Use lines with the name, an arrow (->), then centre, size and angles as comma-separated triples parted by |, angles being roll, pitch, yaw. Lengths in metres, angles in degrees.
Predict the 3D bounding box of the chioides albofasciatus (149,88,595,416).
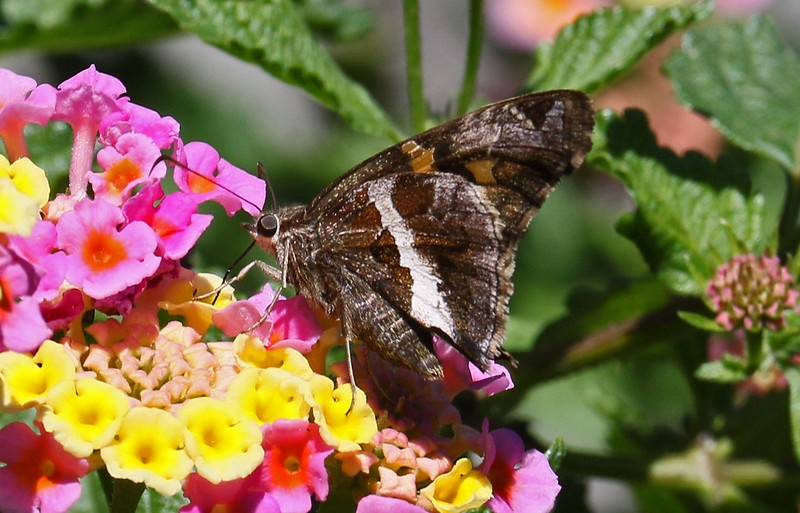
chioides albofasciatus -> -0.094, -0.101, 2.153 | 1.101, 0.893, 0.552 | 20, 9, 7

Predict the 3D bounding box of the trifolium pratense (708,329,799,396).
trifolium pratense -> 0.889, 0.260, 2.137 | 0.130, 0.216, 0.186 | -3, -13, -1
